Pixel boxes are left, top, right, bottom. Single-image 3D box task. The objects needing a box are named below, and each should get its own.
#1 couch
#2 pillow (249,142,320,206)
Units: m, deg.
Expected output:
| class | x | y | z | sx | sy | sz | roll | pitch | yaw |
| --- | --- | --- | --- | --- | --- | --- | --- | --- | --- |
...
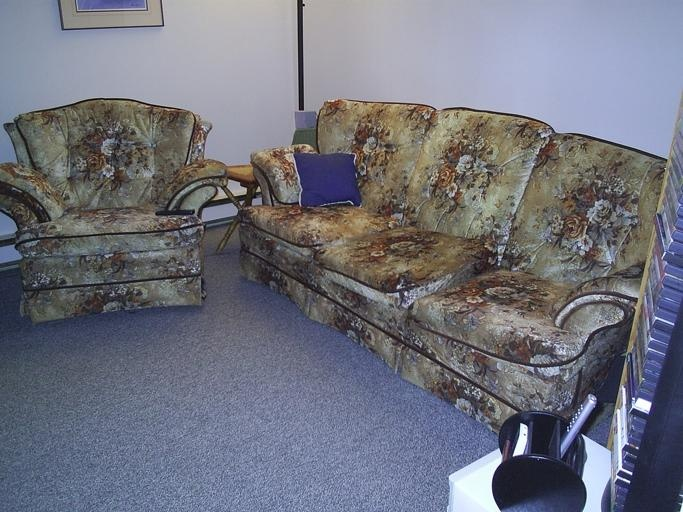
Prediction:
| class | x | y | z | sx | sy | sz | roll | pitch | yaw |
| --- | --- | --- | --- | --- | --- | --- | --- | --- | --- |
| couch | 0.544 | -0.125 | 2.880 | 2.077 | 1.380 | 1.022 | 14 | 20 | 41 |
| pillow | -0.402 | -0.549 | 3.527 | 0.381 | 0.387 | 0.189 | -14 | 2 | -26 |
